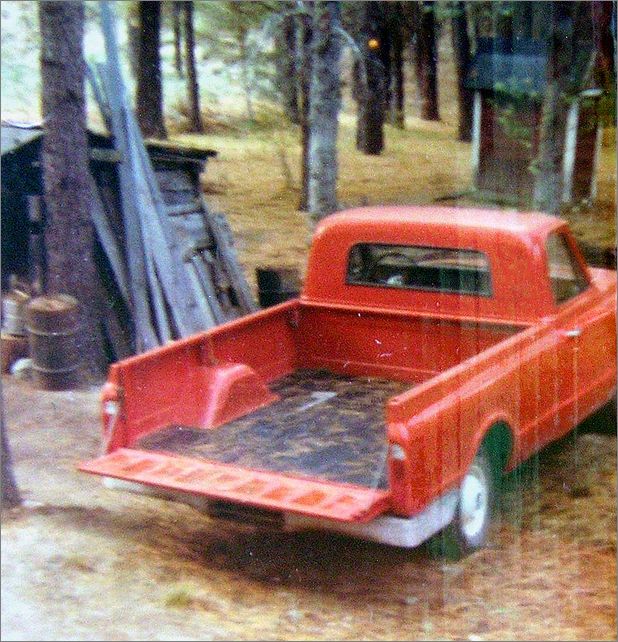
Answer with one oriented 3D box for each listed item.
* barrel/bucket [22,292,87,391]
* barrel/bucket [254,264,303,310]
[{"bbox_3d":[-0.615,0.063,1.862,0.136,0.214,0.134,3,16,-1],"label":"barrel/bucket"},{"bbox_3d":[-0.115,-0.131,2.948,0.156,0.144,0.272,-3,0,5],"label":"barrel/bucket"}]
